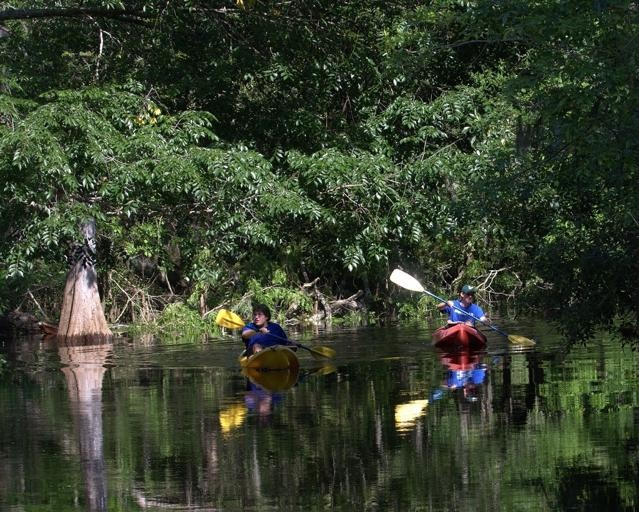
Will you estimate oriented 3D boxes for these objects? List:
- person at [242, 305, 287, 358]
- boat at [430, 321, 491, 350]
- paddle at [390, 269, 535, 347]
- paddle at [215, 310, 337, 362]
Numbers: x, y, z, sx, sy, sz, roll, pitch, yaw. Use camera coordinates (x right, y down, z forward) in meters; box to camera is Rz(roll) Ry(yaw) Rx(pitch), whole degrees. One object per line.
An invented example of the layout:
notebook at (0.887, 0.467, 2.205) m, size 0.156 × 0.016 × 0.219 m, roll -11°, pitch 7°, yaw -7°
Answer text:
person at (-1.014, 1.298, 20.654) m, size 0.508 × 0.549 × 0.894 m, roll -9°, pitch 28°, yaw -7°
boat at (2.471, 1.438, 21.203) m, size 0.909 × 0.527 × 0.586 m, roll -3°, pitch -6°, yaw 5°
paddle at (3.195, 1.171, 27.679) m, size 2.895 × 0.409 × 0.153 m, roll 34°, pitch 15°, yaw 17°
paddle at (-0.908, 1.520, 22.672) m, size 2.157 × 0.311 × 0.165 m, roll 21°, pitch 6°, yaw -24°
